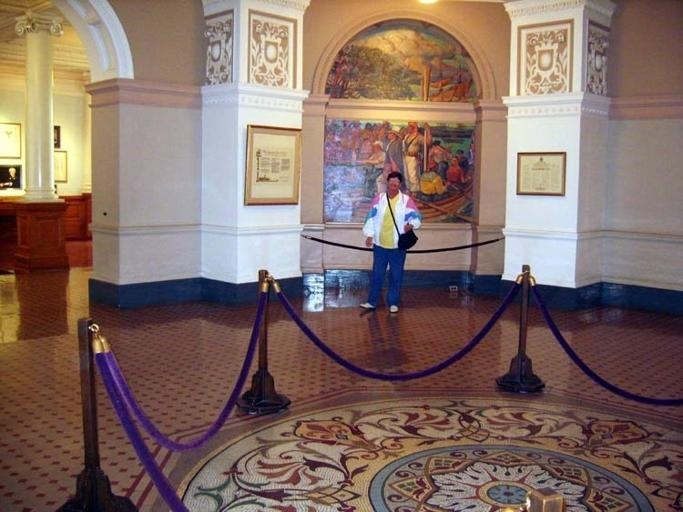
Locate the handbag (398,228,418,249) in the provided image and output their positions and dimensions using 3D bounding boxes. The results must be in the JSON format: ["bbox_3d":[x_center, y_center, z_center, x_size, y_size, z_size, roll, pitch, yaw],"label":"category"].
[{"bbox_3d":[1.009,-0.256,8.152,0.268,0.339,0.298,2,7,7],"label":"handbag"}]

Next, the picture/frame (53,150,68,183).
[{"bbox_3d":[-9.496,-3.043,17.515,0.116,0.990,0.589,7,10,16],"label":"picture/frame"}]

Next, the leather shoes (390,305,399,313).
[{"bbox_3d":[0.818,0.839,8.319,0.114,0.062,0.157,0,-2,1],"label":"leather shoes"}]

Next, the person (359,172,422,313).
[{"bbox_3d":[0.758,-0.100,8.267,0.893,1.987,0.390,2,7,10],"label":"person"}]

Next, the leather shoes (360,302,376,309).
[{"bbox_3d":[0.406,0.821,8.578,0.201,0.092,0.113,4,-2,2],"label":"leather shoes"}]

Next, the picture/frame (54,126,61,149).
[{"bbox_3d":[-9.447,-4.005,17.394,0.108,0.778,0.241,5,8,34],"label":"picture/frame"}]

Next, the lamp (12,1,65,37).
[{"bbox_3d":[-6.306,-4.912,10.973,0.892,0.438,0.667,5,9,30],"label":"lamp"}]
